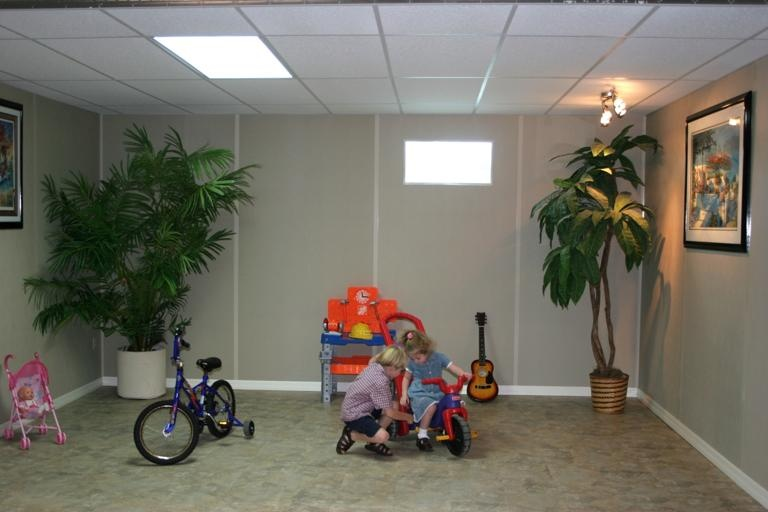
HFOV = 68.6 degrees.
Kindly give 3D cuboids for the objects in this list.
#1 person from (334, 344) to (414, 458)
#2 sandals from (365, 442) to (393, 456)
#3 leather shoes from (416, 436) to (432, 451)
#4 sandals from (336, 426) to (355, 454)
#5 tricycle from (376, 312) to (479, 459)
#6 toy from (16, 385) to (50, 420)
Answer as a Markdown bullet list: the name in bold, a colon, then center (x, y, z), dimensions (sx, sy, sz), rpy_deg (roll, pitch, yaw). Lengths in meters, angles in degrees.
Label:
- **person**: center (-0.011, 1.411, 5.885), dimensions (1.040, 1.346, 0.806), rpy_deg (-1, 3, -11)
- **sandals**: center (-0.044, 1.891, 5.525), dimensions (0.234, 0.094, 0.126), rpy_deg (3, -5, 15)
- **leather shoes**: center (0.409, 1.891, 5.681), dimensions (0.079, 0.088, 0.189), rpy_deg (1, -4, -35)
- **sandals**: center (-0.372, 1.832, 5.555), dimensions (0.138, 0.335, 0.126), rpy_deg (6, -37, 3)
- **tricycle**: center (0.467, 1.347, 5.855), dimensions (0.623, 1.129, 1.627), rpy_deg (-7, 16, -23)
- **toy**: center (-3.538, 1.477, 5.709), dimensions (0.279, 0.354, 0.222), rpy_deg (-9, 14, -40)
